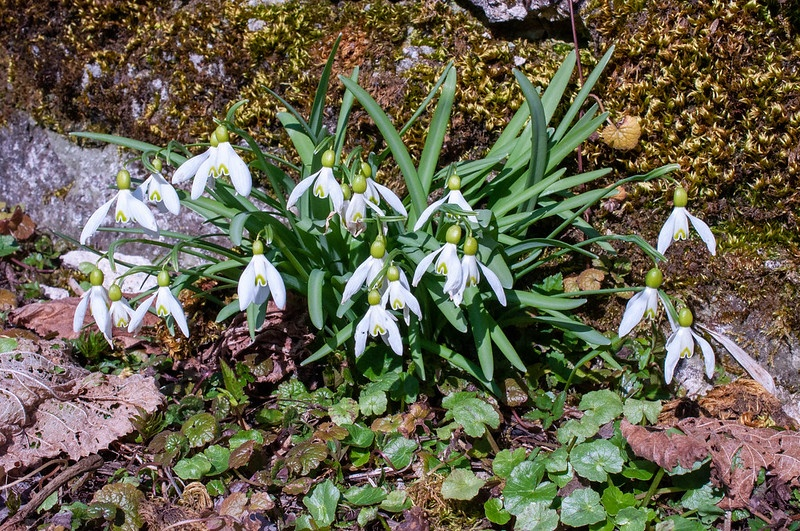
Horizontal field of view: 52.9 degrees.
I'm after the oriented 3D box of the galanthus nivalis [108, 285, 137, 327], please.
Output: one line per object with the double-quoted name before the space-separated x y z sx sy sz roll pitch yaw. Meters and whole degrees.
"galanthus nivalis" -1.222 0.177 3.483 0.092 0.196 0.090 1 16 8
